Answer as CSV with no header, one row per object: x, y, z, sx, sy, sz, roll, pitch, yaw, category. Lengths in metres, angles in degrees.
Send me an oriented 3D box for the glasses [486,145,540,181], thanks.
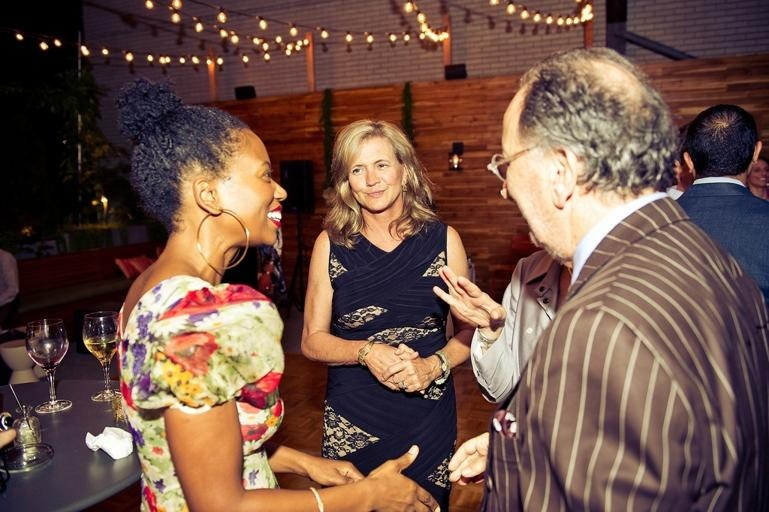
0.374,-0.286,1.734,0.117,0.038,0.117,-14,18,16,glasses

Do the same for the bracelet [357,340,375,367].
-0.081,0.407,2.451,0.036,0.089,0.077,27,-45,-20,bracelet

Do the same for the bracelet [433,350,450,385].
0.246,0.487,2.496,0.042,0.124,0.108,-2,4,1,bracelet

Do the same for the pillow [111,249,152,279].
-3.480,0.110,7.854,0.107,0.269,0.375,-34,-6,30,pillow

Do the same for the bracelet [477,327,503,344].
0.373,0.283,2.077,0.066,0.054,0.069,-1,2,0,bracelet

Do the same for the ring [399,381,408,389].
0.075,0.530,2.403,0.010,0.030,0.029,-30,-35,28,ring
